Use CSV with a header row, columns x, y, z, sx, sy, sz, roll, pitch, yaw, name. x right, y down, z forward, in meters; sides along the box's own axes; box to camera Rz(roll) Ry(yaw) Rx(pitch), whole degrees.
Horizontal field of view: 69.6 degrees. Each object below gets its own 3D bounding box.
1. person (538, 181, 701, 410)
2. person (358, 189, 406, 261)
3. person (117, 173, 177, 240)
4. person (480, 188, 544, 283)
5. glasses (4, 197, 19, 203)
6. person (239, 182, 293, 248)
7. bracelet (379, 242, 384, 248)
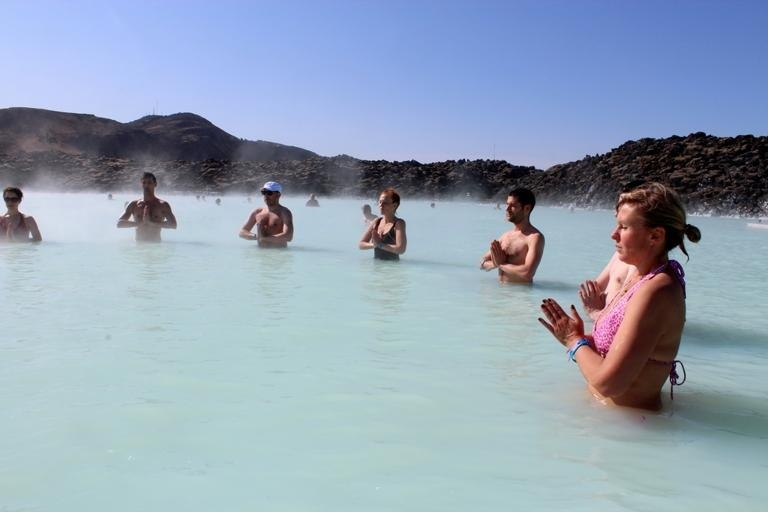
x,y,z,sx,sy,sz,roll,pitch,yaw,name
1.628,0.319,3.681,0.896,1.573,0.587,-5,15,-26,person
-0.018,-0.509,9.369,0.642,1.243,0.988,-3,14,-19,person
-4.547,-0.895,10.616,0.921,1.352,1.047,-7,16,-34,person
1.790,-0.255,7.679,0.775,1.306,0.748,1,13,-1,person
-6.508,-0.959,9.717,0.126,0.052,0.150,1,-4,-16,glasses
-2.186,-0.737,10.418,0.981,1.231,0.642,12,16,37,person
-0.044,-0.170,9.354,0.105,0.088,0.024,-2,6,-10,bracelet
